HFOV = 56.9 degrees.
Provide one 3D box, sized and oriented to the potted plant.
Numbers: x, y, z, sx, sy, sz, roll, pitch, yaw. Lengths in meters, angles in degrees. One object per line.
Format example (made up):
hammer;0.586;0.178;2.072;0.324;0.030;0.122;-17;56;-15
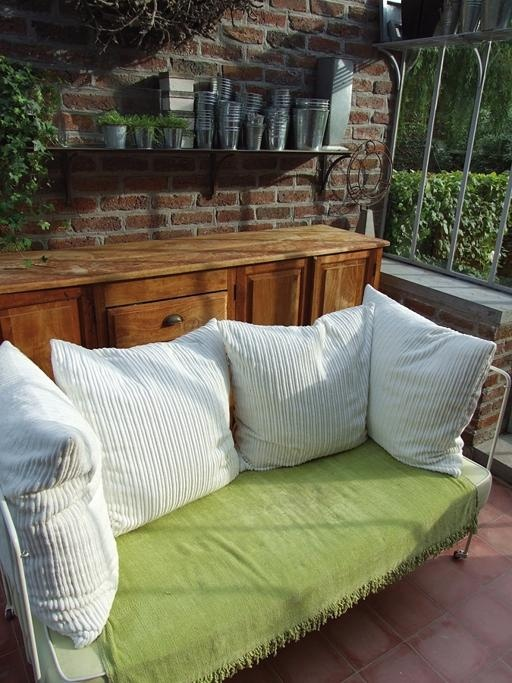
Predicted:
potted plant;-0.449;-0.852;1.910;0.337;0.157;0.208;1;20;-9
